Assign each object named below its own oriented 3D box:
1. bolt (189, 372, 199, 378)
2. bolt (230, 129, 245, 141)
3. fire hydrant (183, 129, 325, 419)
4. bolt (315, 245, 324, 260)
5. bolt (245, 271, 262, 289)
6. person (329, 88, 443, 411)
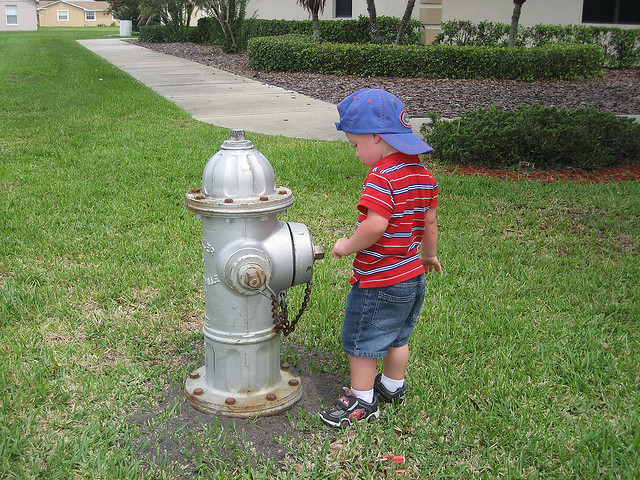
[{"bbox_3d":[-0.753,0.800,3.419,0.029,0.013,0.032,3,10,22],"label":"bolt"},{"bbox_3d":[-0.456,-0.578,3.152,0.062,0.055,0.067,10,13,31],"label":"bolt"},{"bbox_3d":[-0.405,0.010,4.133,1.186,2.371,1.238,-3,12,-14],"label":"fire hydrant"},{"bbox_3d":[0.002,0.069,3.253,0.055,0.065,0.037,1,-4,-4],"label":"bolt"},{"bbox_3d":[-0.359,0.208,3.081,0.069,0.082,0.131,-7,-1,-6],"label":"bolt"},{"bbox_3d":[0.353,0.110,3.120,0.580,1.742,0.467,3,18,0],"label":"person"}]
